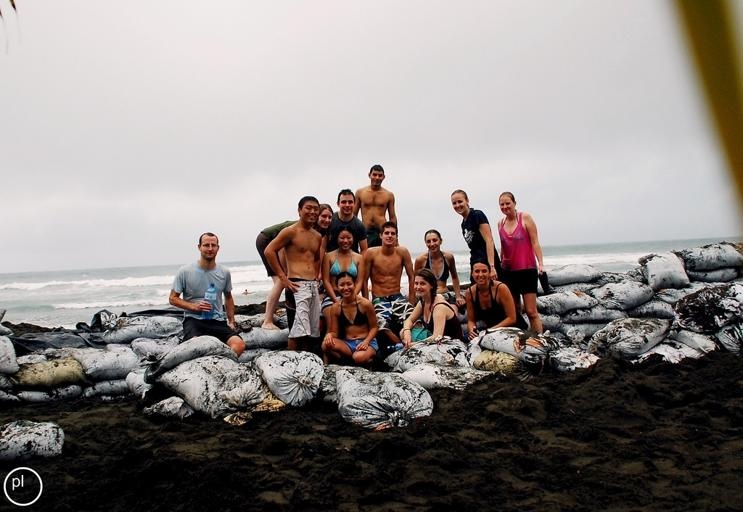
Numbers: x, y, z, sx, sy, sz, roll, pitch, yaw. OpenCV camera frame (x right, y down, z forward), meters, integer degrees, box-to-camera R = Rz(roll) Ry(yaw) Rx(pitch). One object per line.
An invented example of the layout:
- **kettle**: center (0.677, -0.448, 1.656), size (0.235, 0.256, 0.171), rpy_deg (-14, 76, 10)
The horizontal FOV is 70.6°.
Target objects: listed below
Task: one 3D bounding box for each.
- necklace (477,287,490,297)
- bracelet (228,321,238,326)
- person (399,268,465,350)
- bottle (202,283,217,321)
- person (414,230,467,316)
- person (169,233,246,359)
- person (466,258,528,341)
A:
- **necklace**: center (1.651, 0.533, 7.679), size (0.116, 0.161, 0.139), rpy_deg (-8, -8, 9)
- **bracelet**: center (-2.114, 1.011, 7.965), size (0.122, 0.054, 0.164), rpy_deg (11, -16, -22)
- **person**: center (0.855, 0.739, 7.618), size (0.920, 1.100, 0.701), rpy_deg (0, 14, 8)
- **bottle**: center (-2.237, 0.647, 7.221), size (0.197, 0.463, 0.397), rpy_deg (-2, 14, 1)
- **person**: center (1.057, 0.286, 8.469), size (0.946, 1.342, 1.087), rpy_deg (-3, 5, 35)
- **person**: center (-2.259, 0.545, 7.172), size (0.916, 1.881, 1.124), rpy_deg (-9, 16, -27)
- **person**: center (1.714, 0.684, 7.764), size (0.805, 1.236, 0.863), rpy_deg (-9, 3, 32)
